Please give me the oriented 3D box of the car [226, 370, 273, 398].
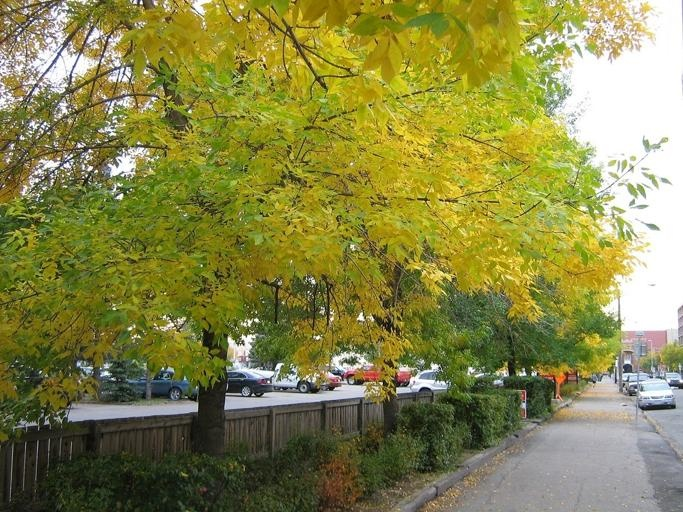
[{"bbox_3d":[-6.047,8.296,34.297,2.914,2.091,1.390,-3,8,19],"label":"car"}]
